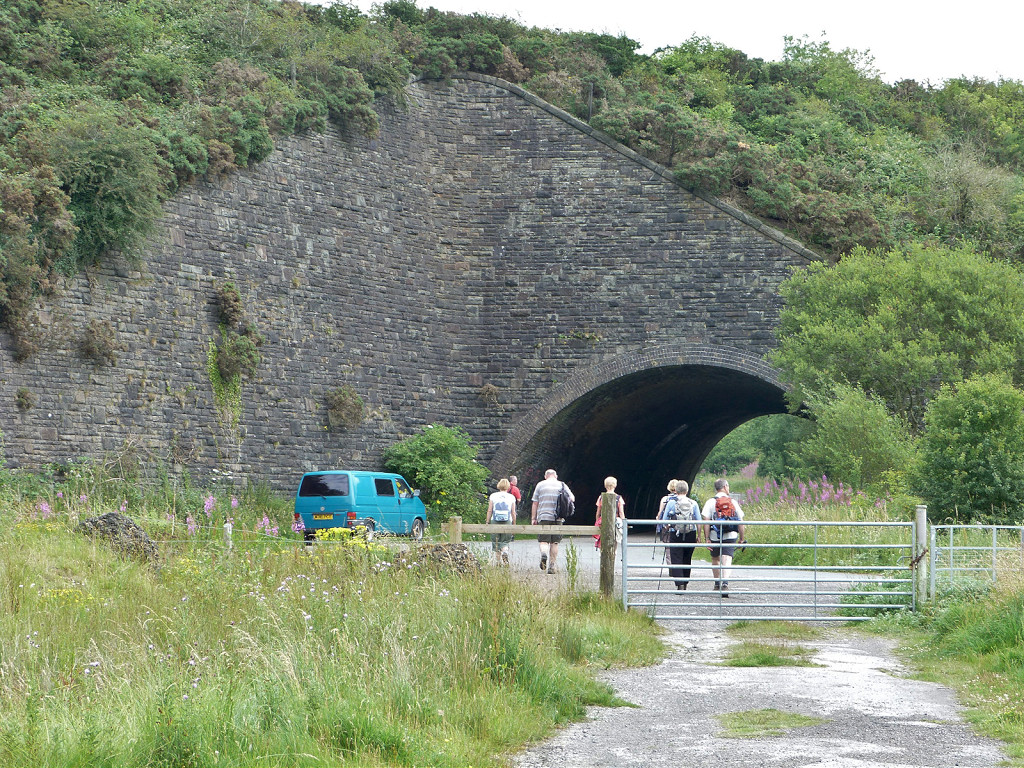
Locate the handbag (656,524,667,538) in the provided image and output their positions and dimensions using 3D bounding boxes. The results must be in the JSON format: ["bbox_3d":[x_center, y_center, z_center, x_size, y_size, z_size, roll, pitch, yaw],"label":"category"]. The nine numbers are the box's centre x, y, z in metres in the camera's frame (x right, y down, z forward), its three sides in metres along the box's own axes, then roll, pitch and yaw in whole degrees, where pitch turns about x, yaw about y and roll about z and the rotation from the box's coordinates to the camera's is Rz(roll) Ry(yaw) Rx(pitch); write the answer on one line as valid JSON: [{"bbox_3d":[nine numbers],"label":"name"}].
[{"bbox_3d":[3.367,3.312,53.795,0.244,0.292,0.475,1,-2,8],"label":"handbag"}]

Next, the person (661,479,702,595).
[{"bbox_3d":[3.727,3.382,53.227,0.827,2.641,0.707,0,-3,-2],"label":"person"}]
